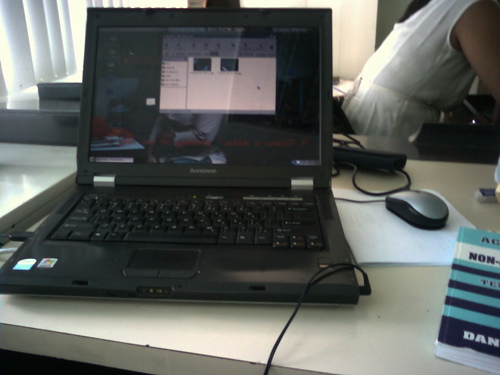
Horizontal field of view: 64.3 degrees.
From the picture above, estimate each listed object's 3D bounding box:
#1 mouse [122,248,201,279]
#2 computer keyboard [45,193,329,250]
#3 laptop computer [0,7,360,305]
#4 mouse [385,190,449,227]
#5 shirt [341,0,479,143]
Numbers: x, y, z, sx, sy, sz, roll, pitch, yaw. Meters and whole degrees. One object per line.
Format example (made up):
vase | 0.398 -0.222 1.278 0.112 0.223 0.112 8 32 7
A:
mouse | -0.141 0.121 0.638 0.118 0.028 0.055 4 17 0
computer keyboard | -0.104 0.051 0.727 0.477 0.071 0.142 5 17 2
laptop computer | -0.093 -0.029 0.830 0.586 0.451 0.527 1 25 2
mouse | 0.324 0.023 0.764 0.057 0.035 0.097 -9 27 -22
shirt | 0.633 -0.448 1.579 0.249 0.506 0.530 -8 20 -35
